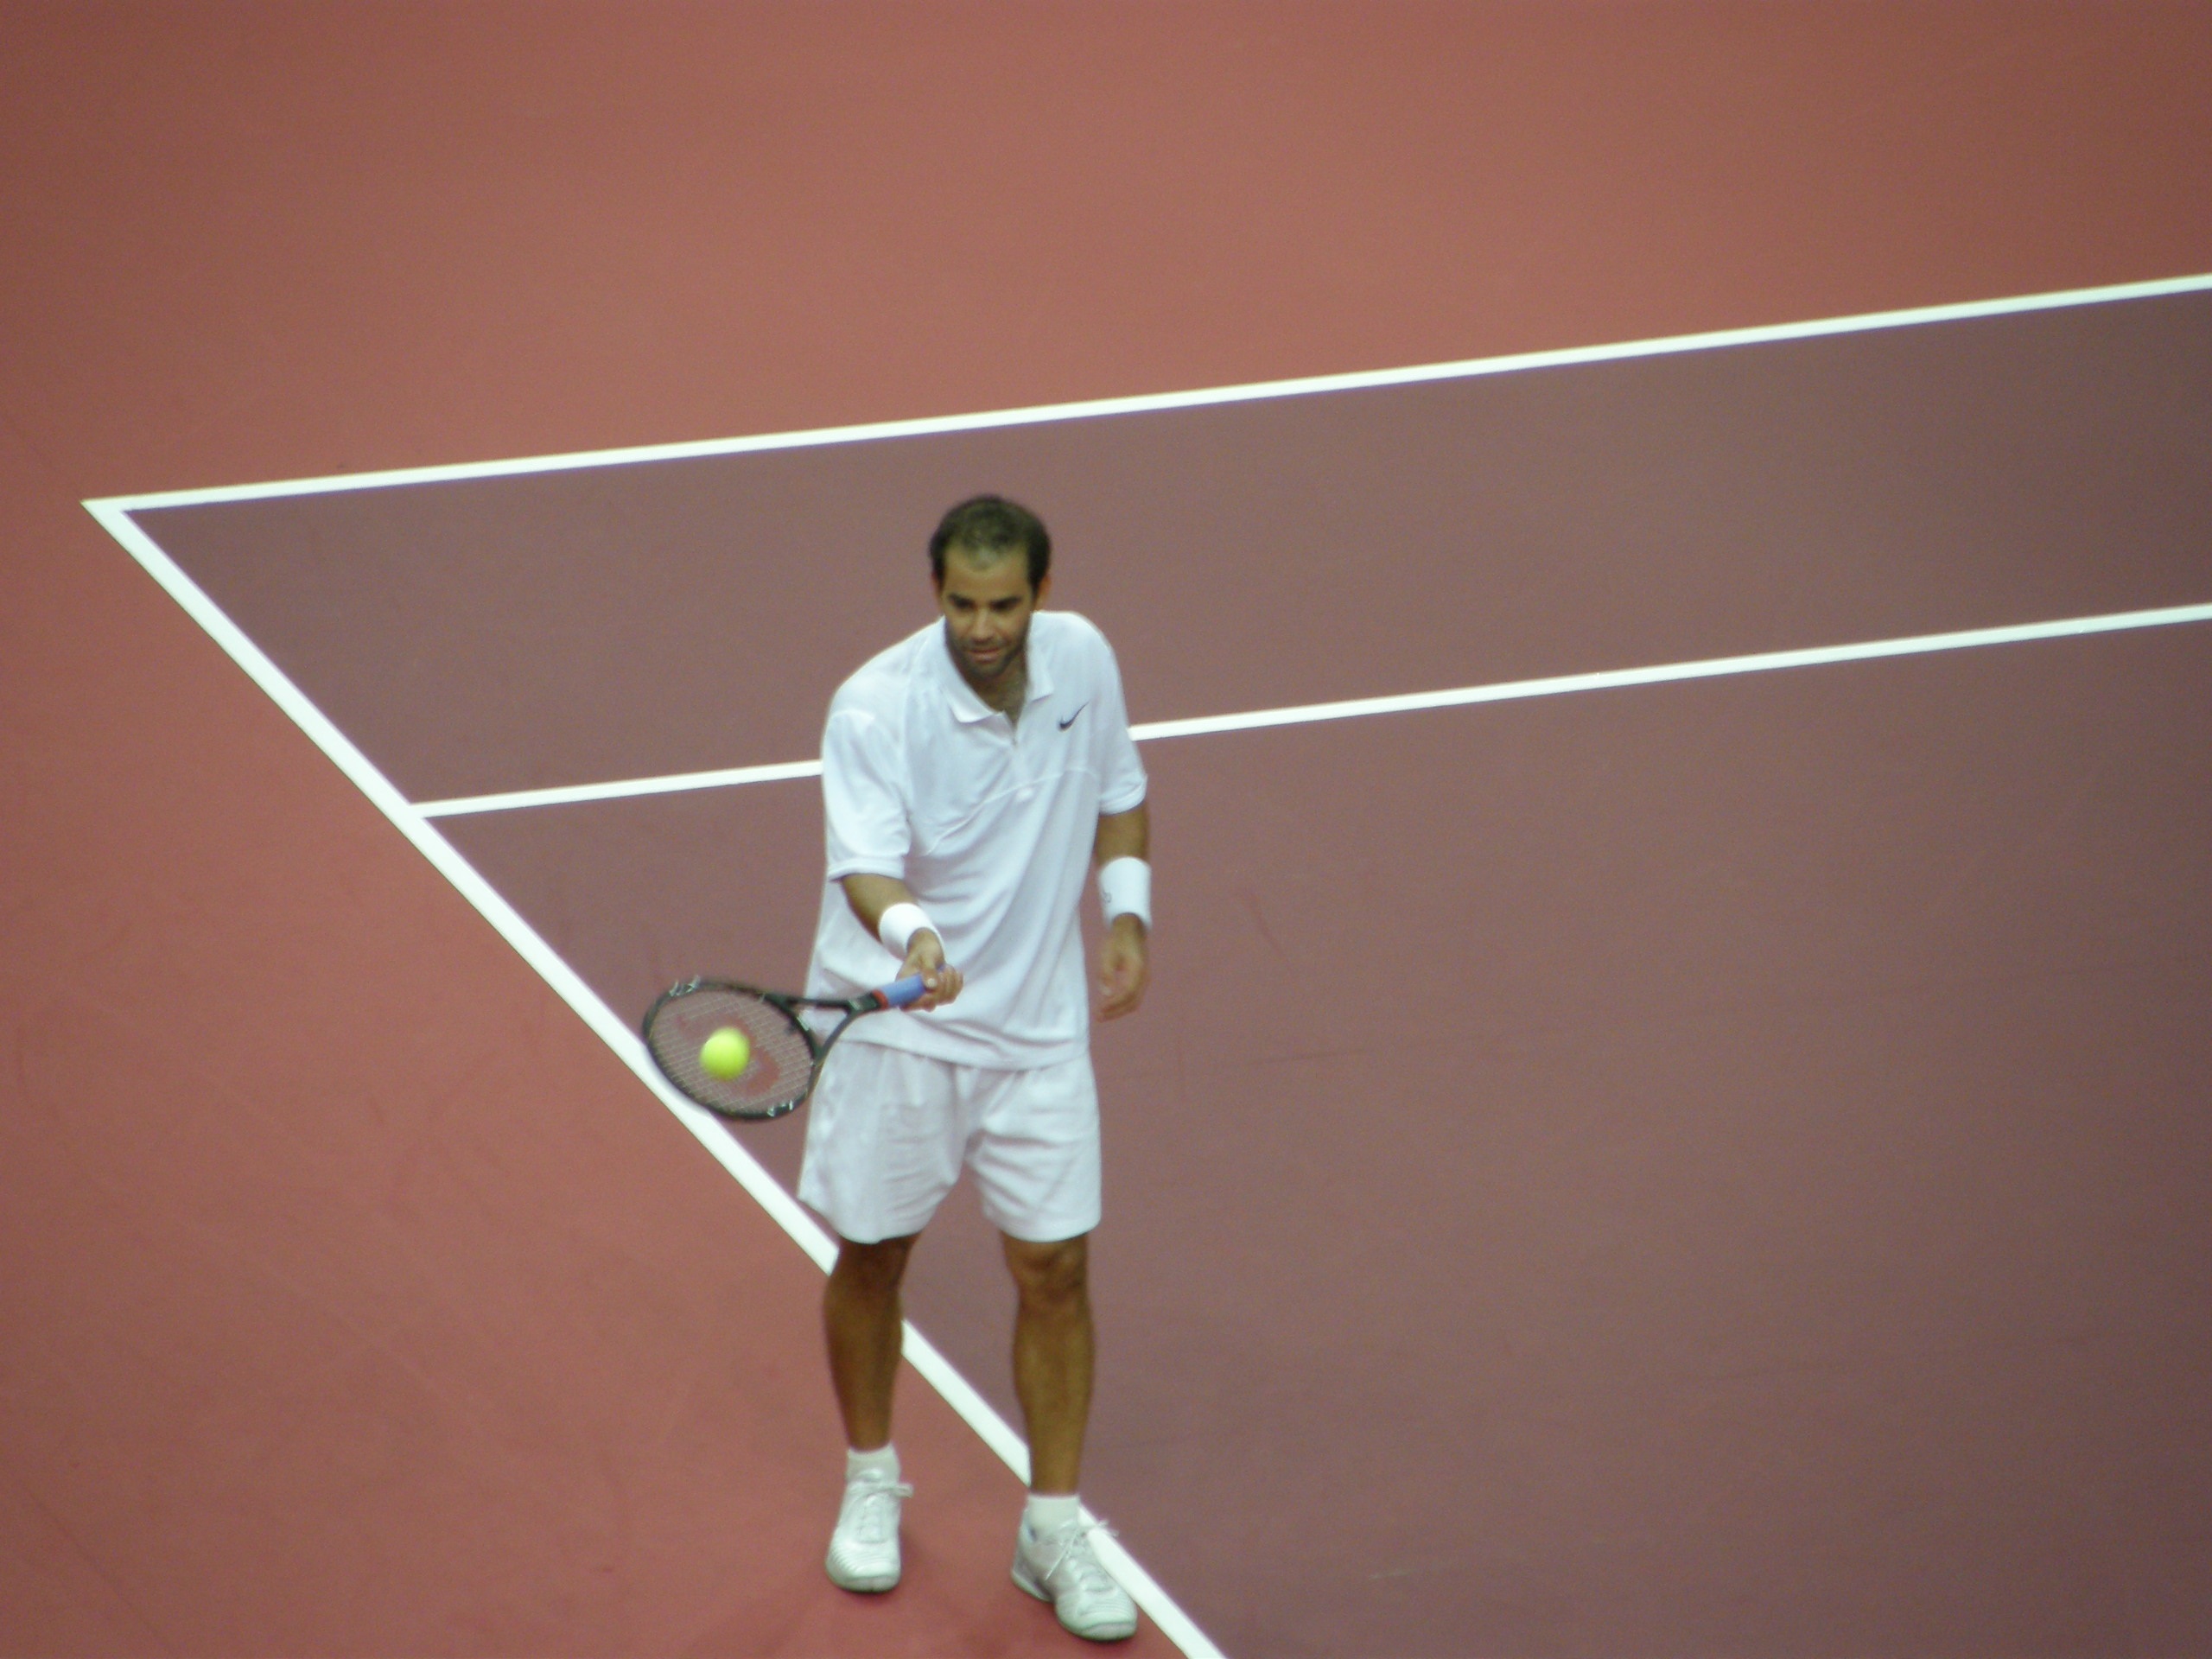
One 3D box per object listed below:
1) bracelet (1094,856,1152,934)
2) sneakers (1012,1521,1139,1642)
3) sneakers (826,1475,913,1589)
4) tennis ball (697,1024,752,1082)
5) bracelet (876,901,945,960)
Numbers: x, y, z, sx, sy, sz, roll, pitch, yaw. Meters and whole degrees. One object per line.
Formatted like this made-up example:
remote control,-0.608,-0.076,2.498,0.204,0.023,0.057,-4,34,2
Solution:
bracelet,0.031,0.149,7.532,0.108,0.129,0.144,-2,-28,6
sneakers,-0.073,1.742,7.323,0.155,0.368,0.185,-12,-70,-40
sneakers,-0.562,1.652,7.566,0.186,0.488,0.212,4,-81,-4
tennis ball,-0.842,0.482,6.944,0.090,0.099,0.128,2,-88,-1
bracelet,-0.444,0.220,7.056,0.107,0.110,0.103,46,-71,23
